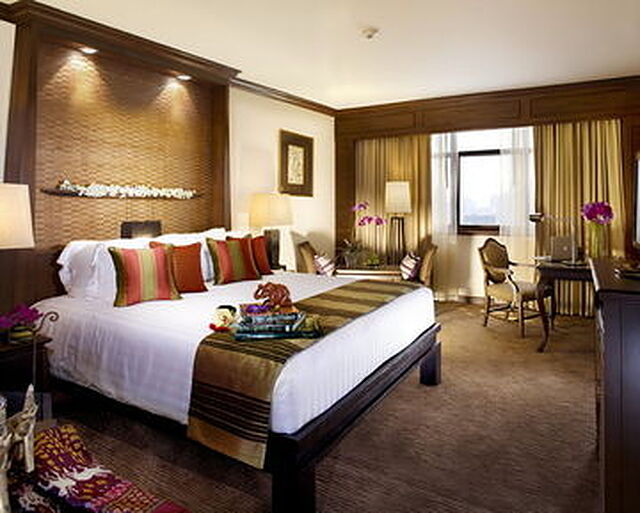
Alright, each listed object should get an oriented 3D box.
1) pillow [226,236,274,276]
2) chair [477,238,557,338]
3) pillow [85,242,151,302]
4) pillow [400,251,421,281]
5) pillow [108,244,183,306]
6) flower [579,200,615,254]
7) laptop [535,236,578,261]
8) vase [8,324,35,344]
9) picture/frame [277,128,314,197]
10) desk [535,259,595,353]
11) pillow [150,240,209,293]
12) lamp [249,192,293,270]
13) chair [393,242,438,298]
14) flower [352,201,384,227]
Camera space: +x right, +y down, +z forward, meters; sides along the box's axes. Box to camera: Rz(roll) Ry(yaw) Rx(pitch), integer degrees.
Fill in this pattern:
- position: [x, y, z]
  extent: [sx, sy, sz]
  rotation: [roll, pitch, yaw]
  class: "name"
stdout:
- position: [-0.726, 0.035, 4.628]
  extent: [0.122, 0.424, 0.427]
  rotation: [-21, -8, 31]
  class: "pillow"
- position: [2.424, 0.320, 5.497]
  extent: [0.676, 1.104, 0.712]
  rotation: [-4, 3, -29]
  class: "chair"
- position: [-1.668, 0.099, 3.512]
  extent: [0.157, 0.438, 0.418]
  rotation: [-9, -10, 26]
  class: "pillow"
- position: [1.288, 0.048, 6.283]
  extent: [0.269, 0.466, 0.536]
  rotation: [1, 28, 11]
  class: "pillow"
- position: [-1.344, 0.153, 3.342]
  extent: [0.406, 0.396, 0.139]
  rotation: [-2, -21, -46]
  class: "pillow"
- position: [3.115, -0.247, 4.999]
  extent: [0.381, 0.703, 0.355]
  rotation: [7, -5, -21]
  class: "flower"
- position: [2.619, -0.075, 4.880]
  extent: [0.398, 0.308, 0.292]
  rotation: [-2, 12, -5]
  class: "laptop"
- position: [-1.947, 0.508, 2.872]
  extent: [0.126, 0.104, 0.131]
  rotation: [2, 1, -6]
  class: "vase"
- position: [-0.335, -1.343, 6.392]
  extent: [0.102, 0.912, 0.819]
  rotation: [0, 5, 30]
  class: "picture/frame"
- position: [2.476, 0.580, 4.876]
  extent: [0.711, 0.859, 0.870]
  rotation: [4, -10, -6]
  class: "desk"
- position: [-1.172, 0.088, 3.609]
  extent: [0.349, 0.400, 0.134]
  rotation: [-10, -17, -30]
  class: "pillow"
- position: [-0.610, -0.325, 5.507]
  extent: [0.449, 0.945, 0.449]
  rotation: [3, 7, 27]
  class: "lamp"
- position: [1.377, 0.151, 6.514]
  extent: [0.538, 0.744, 1.041]
  rotation: [6, 5, 10]
  class: "chair"
- position: [0.746, -0.671, 7.013]
  extent: [0.439, 0.173, 0.402]
  rotation: [-4, 21, 42]
  class: "flower"
